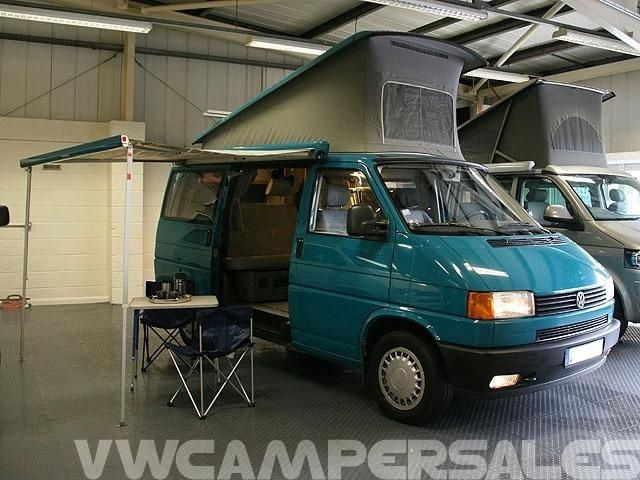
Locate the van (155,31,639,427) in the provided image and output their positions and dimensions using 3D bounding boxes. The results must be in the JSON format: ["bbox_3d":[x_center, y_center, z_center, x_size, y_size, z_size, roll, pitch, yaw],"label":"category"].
[{"bbox_3d":[0.775,-0.263,7.261,3.689,3.441,6.752,-1,3,-41],"label":"van"}]

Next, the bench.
[{"bbox_3d":[-0.686,-0.258,7.667,1.468,1.147,0.588,-7,-9,42],"label":"bench"}]

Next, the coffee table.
[{"bbox_3d":[-1.573,1.153,6.110,1.379,0.926,0.996,-2,-12,-21],"label":"coffee table"}]

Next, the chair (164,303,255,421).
[{"bbox_3d":[-1.218,1.216,5.289,1.157,0.895,0.942,-3,-11,-2],"label":"chair"}]

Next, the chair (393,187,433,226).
[{"bbox_3d":[0.900,-0.336,4.981,0.299,0.352,0.311,-5,8,-37],"label":"chair"}]
